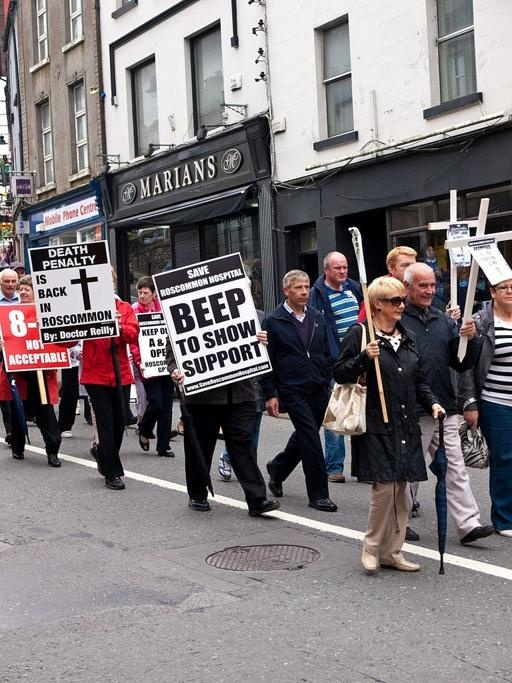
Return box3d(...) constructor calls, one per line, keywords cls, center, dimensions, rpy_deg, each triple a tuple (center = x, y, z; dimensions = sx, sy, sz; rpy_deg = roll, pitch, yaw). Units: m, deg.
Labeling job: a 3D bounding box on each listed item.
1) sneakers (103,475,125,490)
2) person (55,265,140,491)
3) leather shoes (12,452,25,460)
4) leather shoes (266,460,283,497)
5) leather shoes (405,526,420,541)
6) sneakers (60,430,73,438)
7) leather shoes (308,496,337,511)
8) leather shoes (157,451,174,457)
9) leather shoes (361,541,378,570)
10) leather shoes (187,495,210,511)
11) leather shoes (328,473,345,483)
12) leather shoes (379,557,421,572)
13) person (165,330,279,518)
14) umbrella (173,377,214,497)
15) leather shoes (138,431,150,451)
box3d(cls="sneakers", center=(-1.231, 1.260, 6.968), dimensions=(0.076, 0.085, 0.221), rpy_deg=(1, -6, -36))
box3d(cls="person", center=(-2.075, 0.403, 9.934), dimensions=(0.556, 1.916, 0.543), rpy_deg=(-8, -2, 20))
box3d(cls="leather shoes", center=(-2.613, 1.272, 8.765), dimensions=(0.060, 0.070, 0.169), rpy_deg=(2, -3, -35))
box3d(cls="leather shoes", center=(0.125, 1.138, 6.528), dimensions=(0.103, 0.289, 0.129), rpy_deg=(-16, 10, -25))
box3d(cls="leather shoes", center=(0.986, 1.242, 5.085), dimensions=(0.060, 0.069, 0.173), rpy_deg=(-1, -9, -5))
box3d(cls="sneakers", center=(-2.512, 1.252, 10.613), dimensions=(0.092, 0.079, 0.205), rpy_deg=(0, -6, -5))
box3d(cls="leather shoes", center=(0.500, 1.219, 5.877), dimensions=(0.188, 0.076, 0.080), rpy_deg=(-8, -9, 42))
box3d(cls="leather shoes", center=(-0.985, 1.252, 8.789), dimensions=(0.212, 0.073, 0.069), rpy_deg=(-6, -5, 36))
box3d(cls="leather shoes", center=(0.598, 1.144, 4.222), dimensions=(0.059, 0.155, 0.066), rpy_deg=(-11, -13, 42))
box3d(cls="leather shoes", center=(-0.414, 1.227, 5.989), dimensions=(0.066, 0.068, 0.166), rpy_deg=(0, 6, -24))
box3d(cls="leather shoes", center=(0.738, 1.244, 7.166), dimensions=(0.066, 0.062, 0.150), rpy_deg=(2, -7, -16))
box3d(cls="leather shoes", center=(0.785, 1.222, 4.364), dimensions=(0.224, 0.089, 0.080), rpy_deg=(-2, 4, 21))
box3d(cls="person", center=(-0.211, 0.873, 7.546), dimensions=(0.603, 0.529, 1.908), rpy_deg=(-11, -27, -19))
box3d(cls="umbrella", center=(-0.478, 0.776, 6.256), dimensions=(0.146, 1.031, 0.085), rpy_deg=(-18, 2, 40))
box3d(cls="leather shoes", center=(-1.308, 1.157, 9.296), dimensions=(0.080, 0.285, 0.099), rpy_deg=(8, 23, 24))
